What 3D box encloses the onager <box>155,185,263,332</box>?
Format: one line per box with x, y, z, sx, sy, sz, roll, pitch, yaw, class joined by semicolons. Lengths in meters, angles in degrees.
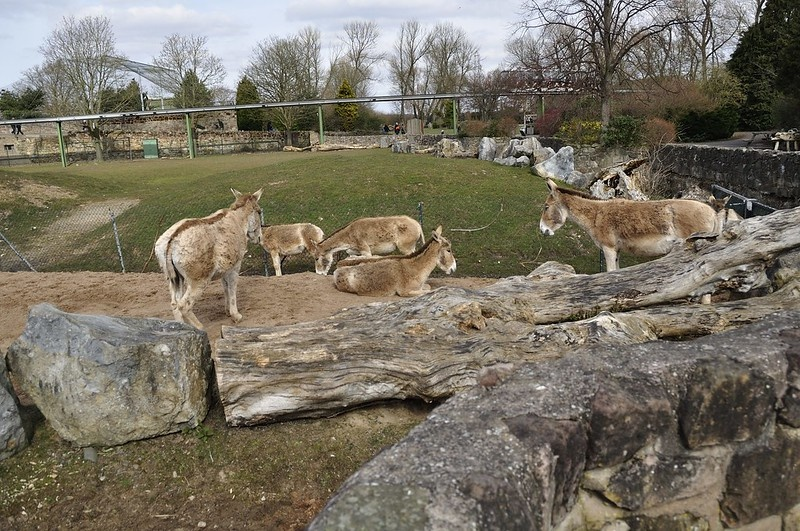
-3.661;-0.121;13.522;0.946;2.725;3.186;2;12;21;onager

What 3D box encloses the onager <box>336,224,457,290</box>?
-0.072;0.033;16.091;3.339;2.025;1.232;-4;15;-3;onager
